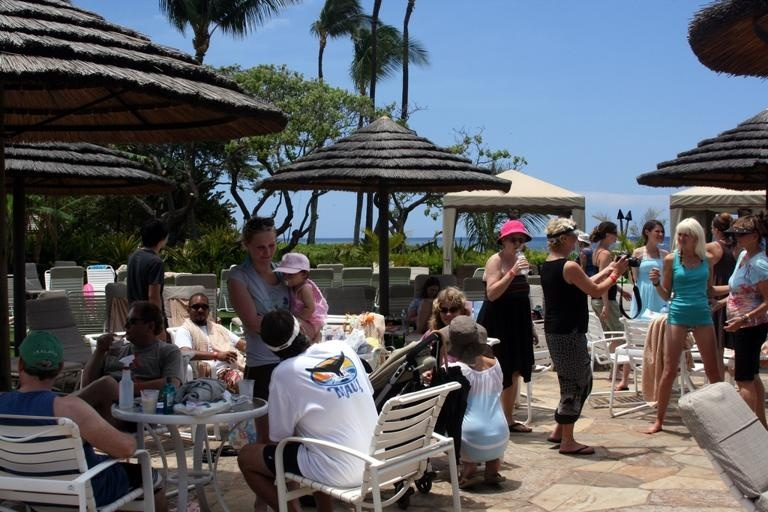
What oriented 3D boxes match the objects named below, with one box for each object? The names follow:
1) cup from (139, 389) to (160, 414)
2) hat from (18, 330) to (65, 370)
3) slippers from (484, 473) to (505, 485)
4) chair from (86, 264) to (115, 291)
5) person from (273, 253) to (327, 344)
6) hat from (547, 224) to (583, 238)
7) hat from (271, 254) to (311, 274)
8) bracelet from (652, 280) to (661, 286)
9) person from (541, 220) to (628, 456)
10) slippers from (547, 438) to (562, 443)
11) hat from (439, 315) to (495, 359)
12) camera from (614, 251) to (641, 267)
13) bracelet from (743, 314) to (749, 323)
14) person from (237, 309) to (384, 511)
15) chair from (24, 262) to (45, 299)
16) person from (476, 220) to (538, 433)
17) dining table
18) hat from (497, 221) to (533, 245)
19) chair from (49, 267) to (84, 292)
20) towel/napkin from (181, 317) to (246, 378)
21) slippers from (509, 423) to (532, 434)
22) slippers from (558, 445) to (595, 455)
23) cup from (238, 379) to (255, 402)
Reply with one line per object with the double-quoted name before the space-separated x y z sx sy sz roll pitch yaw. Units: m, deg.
"cup" -1.736 1.084 4.944 0.148 0.167 0.152 2 -2 0
"hat" -2.295 0.636 4.445 0.202 0.169 0.296 4 8 -29
"slippers" 1.005 2.016 5.992 0.176 0.074 0.096 -6 -5 27
"chair" -6.532 0.477 15.209 0.462 0.574 0.350 0 -5 -9
"person" -0.703 0.456 5.604 0.381 0.950 0.502 4 5 31
"hat" 1.807 -0.260 6.654 0.358 0.148 0.276 4 -8 -31
"hat" -0.732 0.067 5.522 0.168 0.120 0.235 -2 -6 35
"bracelet" 3.041 0.294 7.363 0.104 0.047 0.108 2 -3 0
"person" 1.867 0.806 6.600 0.644 2.357 0.345 3 7 22
"slippers" 1.801 1.951 6.974 0.140 0.056 0.050 7 -13 14
"hat" 0.690 0.706 5.720 0.386 0.373 0.221 1 7 2
"camera" 2.740 0.028 7.402 0.206 0.137 0.215 -1 0 18
"bracelet" 3.704 0.623 6.736 0.045 0.065 0.021 1 -9 12
"person" -0.542 1.164 4.728 0.965 1.550 0.363 2 7 11
"chair" -8.357 0.602 15.764 0.325 0.507 3.593 -3 7 -29
"person" 1.348 0.737 7.118 0.703 2.248 0.864 0 3 33
"dining table" -1.489 1.525 5.190 1.047 0.811 1.070 -3 -8 40
"hat" 1.381 -0.269 6.985 0.334 0.234 0.504 2 6 11
"chair" -7.108 0.477 14.859 1.079 0.494 0.682 7 9 42
"towel/napkin" -1.796 0.968 6.900 0.560 0.660 0.375 9 -48 -47
"slippers" 1.509 1.912 7.352 0.308 0.088 0.114 0 0 28
"slippers" 1.943 1.946 6.643 0.259 0.098 0.139 -3 0 4
"cup" -1.061 1.058 5.216 0.129 0.139 0.135 2 0 0
